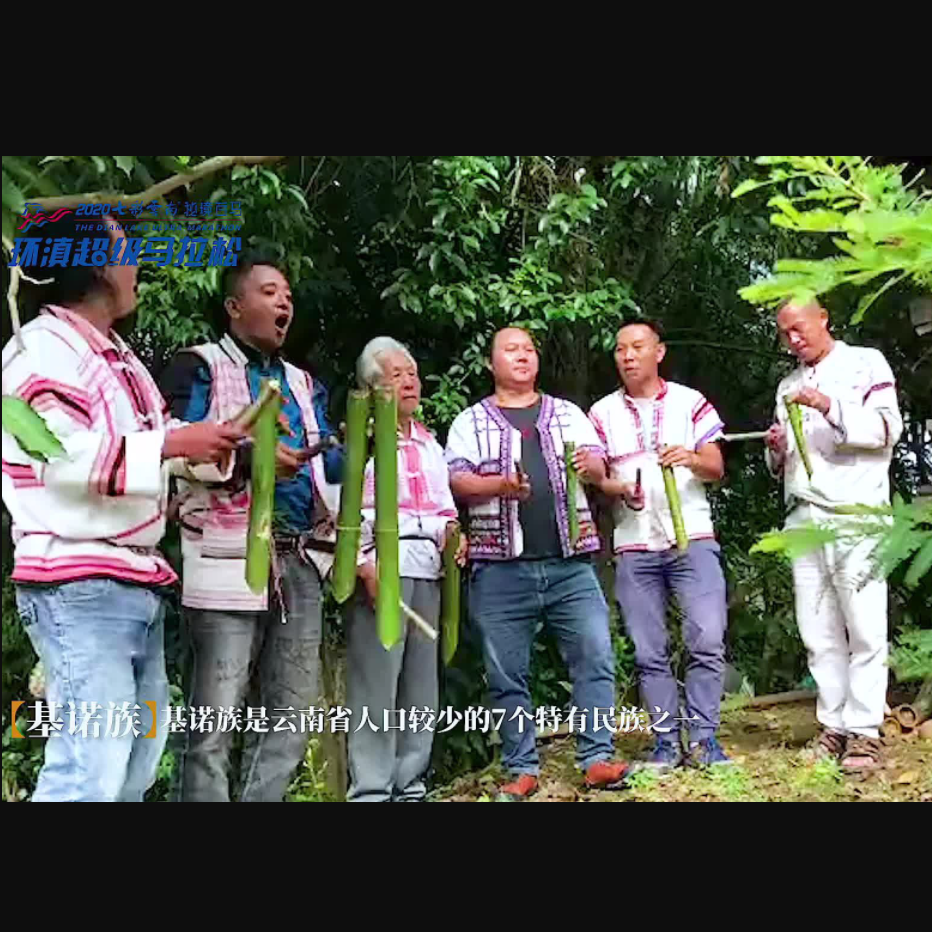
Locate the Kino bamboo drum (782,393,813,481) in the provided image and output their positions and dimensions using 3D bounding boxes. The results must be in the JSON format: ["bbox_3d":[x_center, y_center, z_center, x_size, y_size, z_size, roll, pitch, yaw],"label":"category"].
[{"bbox_3d":[1.003,-0.089,3.668,0.044,0.260,0.060,-15,-5,-37],"label":"Kino bamboo drum"}]

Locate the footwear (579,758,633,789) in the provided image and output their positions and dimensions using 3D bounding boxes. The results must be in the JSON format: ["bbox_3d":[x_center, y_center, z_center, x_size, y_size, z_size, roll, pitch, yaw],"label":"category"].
[{"bbox_3d":[0.429,0.911,3.610,0.126,0.078,0.055,-7,6,2],"label":"footwear"}]

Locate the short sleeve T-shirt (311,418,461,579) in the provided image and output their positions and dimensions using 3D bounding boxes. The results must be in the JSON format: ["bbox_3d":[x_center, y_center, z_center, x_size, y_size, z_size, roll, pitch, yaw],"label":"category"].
[{"bbox_3d":[-0.104,0.066,3.733,0.330,0.425,0.250,5,12,44],"label":"short sleeve T-shirt"}]

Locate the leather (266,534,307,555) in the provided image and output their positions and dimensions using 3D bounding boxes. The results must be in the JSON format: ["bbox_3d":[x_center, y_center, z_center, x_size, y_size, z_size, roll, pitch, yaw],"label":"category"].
[{"bbox_3d":[-0.520,0.229,3.588,0.075,0.075,0.022,4,13,-9],"label":"leather"}]

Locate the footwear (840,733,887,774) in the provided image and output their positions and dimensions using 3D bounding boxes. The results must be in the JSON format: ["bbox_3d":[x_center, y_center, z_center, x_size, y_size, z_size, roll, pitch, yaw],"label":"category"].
[{"bbox_3d":[1.194,0.861,3.633,0.122,0.117,0.035,3,0,4],"label":"footwear"}]

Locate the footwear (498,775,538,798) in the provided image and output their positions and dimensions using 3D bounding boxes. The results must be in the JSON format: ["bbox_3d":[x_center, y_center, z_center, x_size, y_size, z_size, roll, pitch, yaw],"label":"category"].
[{"bbox_3d":[0.162,0.954,3.599,0.120,0.075,0.010,-4,-3,-5],"label":"footwear"}]

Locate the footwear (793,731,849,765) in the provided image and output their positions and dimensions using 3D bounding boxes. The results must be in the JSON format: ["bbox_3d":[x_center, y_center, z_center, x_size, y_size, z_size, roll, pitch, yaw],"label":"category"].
[{"bbox_3d":[1.085,0.838,3.638,0.109,0.101,0.046,3,-6,0],"label":"footwear"}]

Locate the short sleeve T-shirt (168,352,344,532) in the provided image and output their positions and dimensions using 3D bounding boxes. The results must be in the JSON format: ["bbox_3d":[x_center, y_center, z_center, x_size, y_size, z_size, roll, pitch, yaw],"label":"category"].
[{"bbox_3d":[-0.629,-0.082,3.589,0.541,0.521,0.213,4,5,-8],"label":"short sleeve T-shirt"}]

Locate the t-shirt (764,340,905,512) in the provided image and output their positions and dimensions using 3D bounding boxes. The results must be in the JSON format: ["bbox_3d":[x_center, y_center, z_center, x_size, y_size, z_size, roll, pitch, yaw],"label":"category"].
[{"bbox_3d":[1.073,-0.111,3.570,0.315,0.515,0.395,10,-17,-35],"label":"t-shirt"}]

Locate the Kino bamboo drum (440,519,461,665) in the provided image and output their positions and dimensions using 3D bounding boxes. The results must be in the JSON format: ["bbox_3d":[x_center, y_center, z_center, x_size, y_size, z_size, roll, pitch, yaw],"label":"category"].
[{"bbox_3d":[-0.034,0.388,3.634,0.044,0.371,0.074,7,-6,-44],"label":"Kino bamboo drum"}]

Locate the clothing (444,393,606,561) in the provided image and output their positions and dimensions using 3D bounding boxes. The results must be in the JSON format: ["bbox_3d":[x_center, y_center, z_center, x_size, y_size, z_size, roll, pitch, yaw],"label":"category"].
[{"bbox_3d":[0.164,0.050,3.661,0.462,0.475,0.250,-6,-5,-9],"label":"clothing"}]

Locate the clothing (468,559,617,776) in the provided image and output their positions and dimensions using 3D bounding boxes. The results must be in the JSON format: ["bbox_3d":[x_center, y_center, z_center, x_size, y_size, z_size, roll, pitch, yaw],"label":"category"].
[{"bbox_3d":[0.240,0.595,3.620,0.407,0.627,0.041,-4,-3,-3],"label":"clothing"}]

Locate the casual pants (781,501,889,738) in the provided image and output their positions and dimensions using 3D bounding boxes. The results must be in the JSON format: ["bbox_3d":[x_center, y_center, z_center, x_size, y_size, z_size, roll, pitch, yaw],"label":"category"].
[{"bbox_3d":[1.133,0.521,3.594,0.278,0.503,0.184,-4,-3,1],"label":"casual pants"}]

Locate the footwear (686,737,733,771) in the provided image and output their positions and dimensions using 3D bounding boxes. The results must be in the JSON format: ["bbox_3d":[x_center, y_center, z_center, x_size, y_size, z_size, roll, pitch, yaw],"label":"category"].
[{"bbox_3d":[0.721,0.852,3.561,0.115,0.087,0.041,1,2,-4],"label":"footwear"}]

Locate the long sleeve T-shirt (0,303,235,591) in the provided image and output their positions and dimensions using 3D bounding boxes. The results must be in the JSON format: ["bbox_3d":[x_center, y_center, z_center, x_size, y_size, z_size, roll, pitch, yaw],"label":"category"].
[{"bbox_3d":[-1.179,0.003,4.013,0.740,1.209,0.949,-2,0,-7],"label":"long sleeve T-shirt"}]

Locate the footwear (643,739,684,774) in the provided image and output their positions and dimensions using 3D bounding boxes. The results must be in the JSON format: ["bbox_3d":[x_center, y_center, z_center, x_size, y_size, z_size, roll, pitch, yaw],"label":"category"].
[{"bbox_3d":[0.592,0.861,3.631,0.114,0.087,0.040,-26,9,6],"label":"footwear"}]
